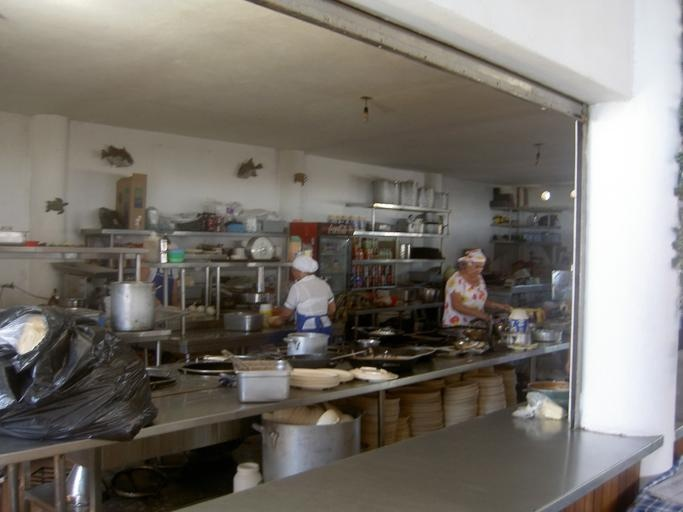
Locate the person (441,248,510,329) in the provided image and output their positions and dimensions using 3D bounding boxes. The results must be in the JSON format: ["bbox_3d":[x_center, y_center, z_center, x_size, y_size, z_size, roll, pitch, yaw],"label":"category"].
[{"bbox_3d":[1.236,0.294,5.194,0.562,0.709,0.763,7,8,12],"label":"person"}]

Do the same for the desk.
[{"bbox_3d":[0.873,0.965,8.586,0.422,0.538,2.206,12,11,39],"label":"desk"}]

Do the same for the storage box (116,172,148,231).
[{"bbox_3d":[-2.407,-0.623,6.393,0.390,0.617,0.288,5,9,0],"label":"storage box"}]

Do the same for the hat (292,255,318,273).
[{"bbox_3d":[-0.342,0.070,5.032,0.166,0.092,0.211,-8,14,-33],"label":"hat"}]

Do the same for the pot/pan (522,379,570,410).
[{"bbox_3d":[1.057,0.687,2.896,0.197,0.117,0.302,6,7,17],"label":"pot/pan"}]

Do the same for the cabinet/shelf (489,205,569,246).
[{"bbox_3d":[3.838,-0.587,11.696,1.458,0.488,0.345,3,-2,8],"label":"cabinet/shelf"}]

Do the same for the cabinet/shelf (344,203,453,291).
[{"bbox_3d":[0.998,-0.140,9.449,2.589,1.218,0.485,-1,-8,-44],"label":"cabinet/shelf"}]

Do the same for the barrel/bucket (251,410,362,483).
[{"bbox_3d":[-0.163,0.926,2.848,0.521,0.236,0.332,-1,-2,-16],"label":"barrel/bucket"}]

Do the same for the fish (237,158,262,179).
[{"bbox_3d":[-1.260,-1.203,7.818,0.148,0.293,0.400,11,10,34],"label":"fish"}]

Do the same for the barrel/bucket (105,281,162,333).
[{"bbox_3d":[-1.128,0.274,3.060,0.329,0.244,0.311,0,2,0],"label":"barrel/bucket"}]

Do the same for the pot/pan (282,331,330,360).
[{"bbox_3d":[-0.207,0.525,3.358,0.217,0.073,0.140,1,-1,-19],"label":"pot/pan"}]

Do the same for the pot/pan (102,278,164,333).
[{"bbox_3d":[-1.127,0.263,3.095,0.328,0.247,0.316,-1,2,-19],"label":"pot/pan"}]
